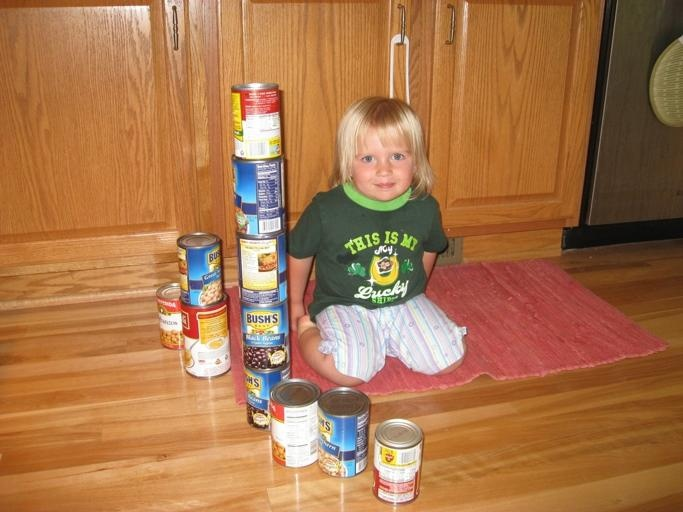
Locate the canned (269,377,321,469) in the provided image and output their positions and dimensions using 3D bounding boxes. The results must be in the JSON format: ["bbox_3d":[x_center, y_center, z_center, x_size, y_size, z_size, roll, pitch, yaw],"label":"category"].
[{"bbox_3d":[-0.103,0.425,1.328,0.139,0.132,0.137,-8,-5,35],"label":"canned"}]

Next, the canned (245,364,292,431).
[{"bbox_3d":[-0.165,0.375,1.453,0.149,0.141,0.142,-9,-10,28],"label":"canned"}]

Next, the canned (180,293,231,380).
[{"bbox_3d":[-0.412,0.240,1.660,0.169,0.206,0.154,-2,8,1],"label":"canned"}]

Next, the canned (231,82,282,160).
[{"bbox_3d":[-0.237,-0.333,1.350,0.157,0.145,0.141,-4,17,-9],"label":"canned"}]

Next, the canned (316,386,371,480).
[{"bbox_3d":[0.007,0.433,1.300,0.135,0.128,0.132,1,2,38],"label":"canned"}]

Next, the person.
[{"bbox_3d":[0.101,-0.039,1.583,0.532,0.760,0.448,-4,29,-6],"label":"person"}]

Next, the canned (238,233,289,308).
[{"bbox_3d":[-0.201,0.032,1.453,0.155,0.185,0.140,-1,5,8],"label":"canned"}]
